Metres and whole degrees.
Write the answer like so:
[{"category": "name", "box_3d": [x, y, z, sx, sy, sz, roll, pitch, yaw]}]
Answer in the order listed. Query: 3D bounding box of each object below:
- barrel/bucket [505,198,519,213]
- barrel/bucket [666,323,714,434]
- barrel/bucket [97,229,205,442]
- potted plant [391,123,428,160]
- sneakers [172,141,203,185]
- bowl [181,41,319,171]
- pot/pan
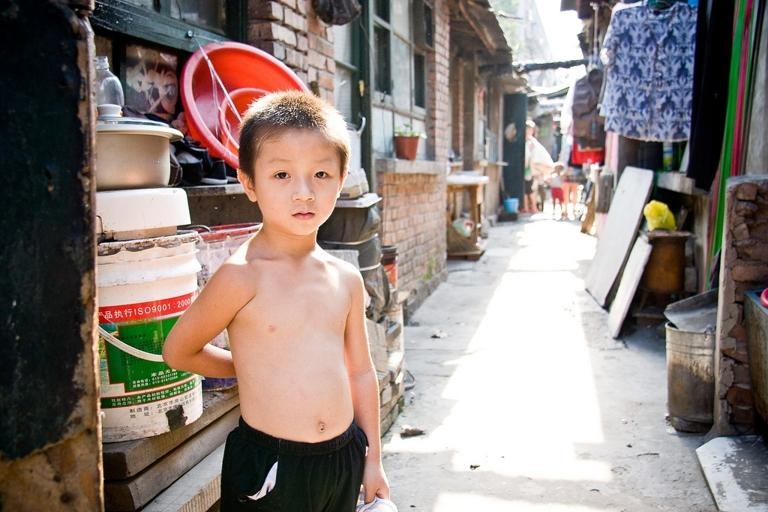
[{"category": "barrel/bucket", "box_3d": [3.394, -1.340, 16.589, 0.405, 0.336, 0.403, -2, 2, 0]}, {"category": "barrel/bucket", "box_3d": [1.925, 0.730, 3.914, 0.340, 0.551, 0.330, 1, 0, 0]}, {"category": "barrel/bucket", "box_3d": [-0.935, 0.326, 2.567, 0.535, 0.746, 0.524, -7, -6, -1]}, {"category": "potted plant", "box_3d": [0.227, -1.261, 6.936, 0.351, 0.385, 0.342, -7, 0, -11]}, {"category": "sneakers", "box_3d": [-0.934, -0.439, 3.016, 0.093, 0.111, 0.253, -16, 26, -24]}, {"category": "bowl", "box_3d": [-0.862, -0.765, 3.434, 0.736, 0.745, 0.292, -10, -5, 5]}, {"category": "pot/pan", "box_3d": [-0.941, -0.384, 2.397, 0.308, 0.207, 0.320, 0, 2, 19]}]
